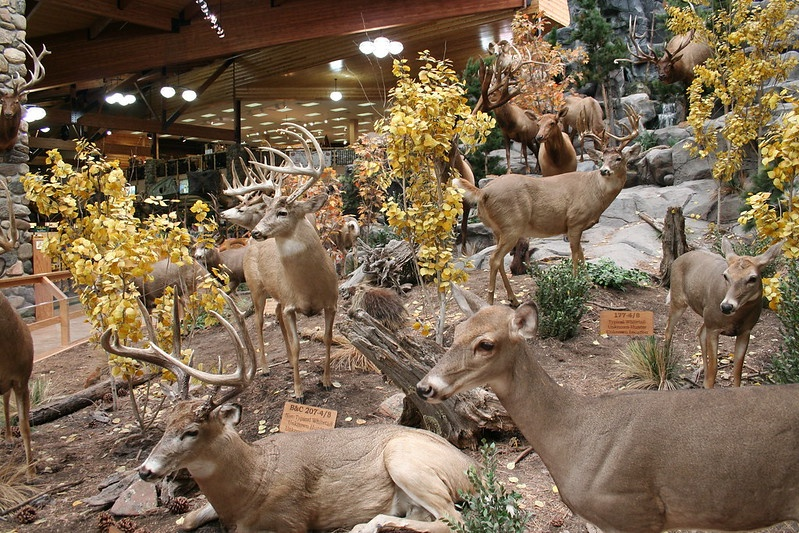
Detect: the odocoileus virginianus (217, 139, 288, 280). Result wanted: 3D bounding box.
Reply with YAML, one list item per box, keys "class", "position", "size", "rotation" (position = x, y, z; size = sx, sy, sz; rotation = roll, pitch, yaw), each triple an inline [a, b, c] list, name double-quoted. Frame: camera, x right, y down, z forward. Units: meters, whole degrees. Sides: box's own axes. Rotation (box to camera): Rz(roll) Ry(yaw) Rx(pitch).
- class: "odocoileus virginianus"
  position: [-1.662, -0.635, 7.719]
  size: [1.153, 1.543, 0.910]
  rotation: [13, -10, -9]

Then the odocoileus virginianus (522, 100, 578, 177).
- class: "odocoileus virginianus"
  position: [2.763, -1.942, 10.505]
  size: [0.638, 1.651, 2.127]
  rotation: [-2, 15, 25]
